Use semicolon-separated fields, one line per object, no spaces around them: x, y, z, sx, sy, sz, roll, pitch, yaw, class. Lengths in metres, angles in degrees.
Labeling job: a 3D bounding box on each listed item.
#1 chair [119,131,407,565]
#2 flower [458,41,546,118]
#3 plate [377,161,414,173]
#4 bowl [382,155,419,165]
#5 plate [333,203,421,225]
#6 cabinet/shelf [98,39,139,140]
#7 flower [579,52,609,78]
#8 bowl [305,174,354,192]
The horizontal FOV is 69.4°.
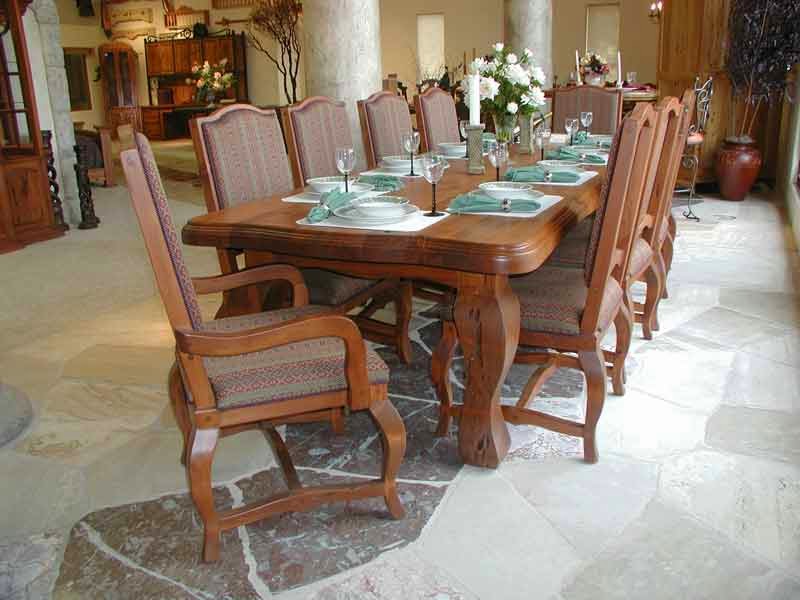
-0.441;0.105;1.955;0.766;1.181;0.669;-7;20;-26;chair
0.565;-1.209;3.254;0.558;0.493;0.554;-2;12;3;flower
-0.019;-0.756;3.253;0.111;0.022;0.109;-11;26;-26;plate
0.002;-0.794;3.263;0.134;0.032;0.132;0;21;0;bowl
-0.075;-0.315;2.154;0.154;0.023;0.152;-15;27;-31;plate
-6.961;-5.399;14.307;1.101;1.970;1.766;-13;25;-23;cabinet/shelf
2.356;-2.858;6.988;0.281;0.247;0.535;1;23;11;flower
-0.306;-0.563;2.738;0.178;0.045;0.186;0;26;0;bowl
